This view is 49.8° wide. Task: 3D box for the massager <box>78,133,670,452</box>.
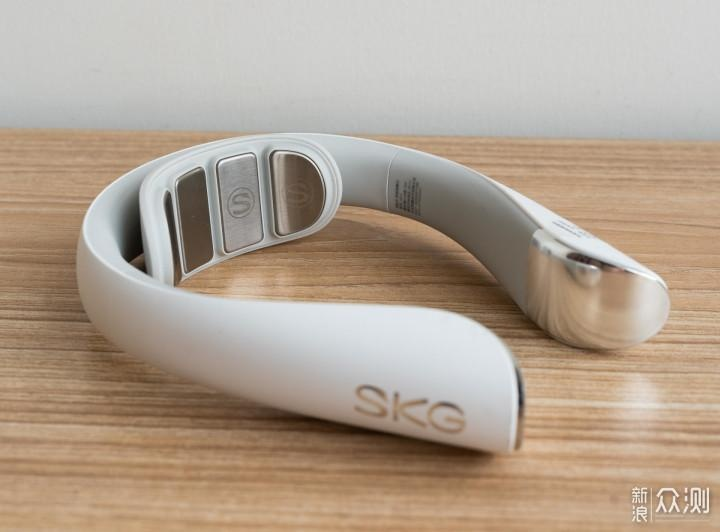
[{"bbox_3d":[-0.056,-0.067,0.797,0.570,0.122,0.426,21,32,26],"label":"massager"}]
